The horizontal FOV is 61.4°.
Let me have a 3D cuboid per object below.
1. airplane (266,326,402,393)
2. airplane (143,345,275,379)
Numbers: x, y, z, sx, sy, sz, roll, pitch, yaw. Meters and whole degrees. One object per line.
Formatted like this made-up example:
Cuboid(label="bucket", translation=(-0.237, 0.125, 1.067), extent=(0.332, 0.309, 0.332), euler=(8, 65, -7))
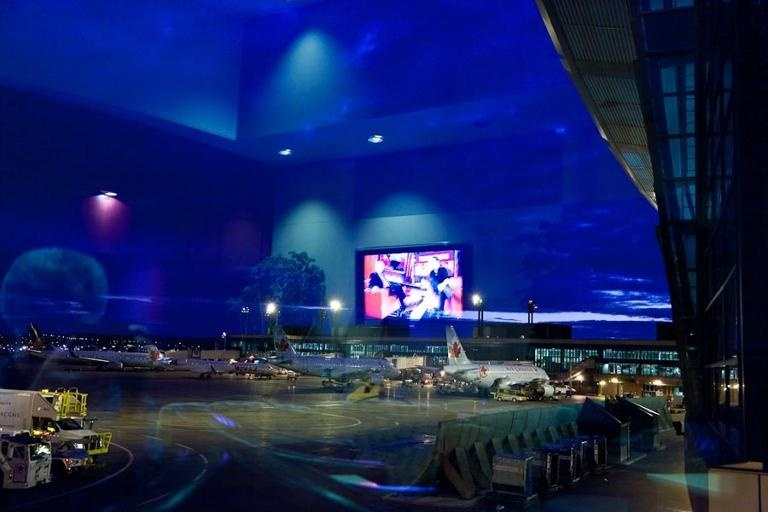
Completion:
Cuboid(label="airplane", translation=(-5.438, 13.004, 80.731), extent=(17.169, 5.965, 16.501), euler=(7, 5, -15))
Cuboid(label="airplane", translation=(-28.615, 18.153, 101.747), extent=(17.245, 5.263, 11.699), euler=(1, -5, -21))
